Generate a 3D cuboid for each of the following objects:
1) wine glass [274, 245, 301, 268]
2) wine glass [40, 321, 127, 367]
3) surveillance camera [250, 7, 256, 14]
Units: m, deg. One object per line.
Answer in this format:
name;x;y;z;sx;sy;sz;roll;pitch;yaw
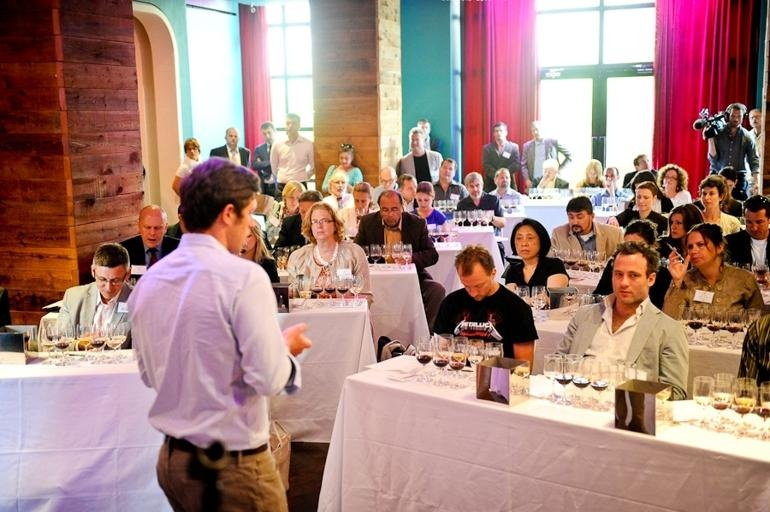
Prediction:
wine glass;-0.978;0.016;6.143;0.200;0.240;0.269;0;-4;-1
wine glass;-1.908;0.564;3.829;0.343;0.135;0.365;1;-3;-3
surveillance camera;-2.839;-5.211;13.167;0.140;0.104;0.067;-1;8;16
